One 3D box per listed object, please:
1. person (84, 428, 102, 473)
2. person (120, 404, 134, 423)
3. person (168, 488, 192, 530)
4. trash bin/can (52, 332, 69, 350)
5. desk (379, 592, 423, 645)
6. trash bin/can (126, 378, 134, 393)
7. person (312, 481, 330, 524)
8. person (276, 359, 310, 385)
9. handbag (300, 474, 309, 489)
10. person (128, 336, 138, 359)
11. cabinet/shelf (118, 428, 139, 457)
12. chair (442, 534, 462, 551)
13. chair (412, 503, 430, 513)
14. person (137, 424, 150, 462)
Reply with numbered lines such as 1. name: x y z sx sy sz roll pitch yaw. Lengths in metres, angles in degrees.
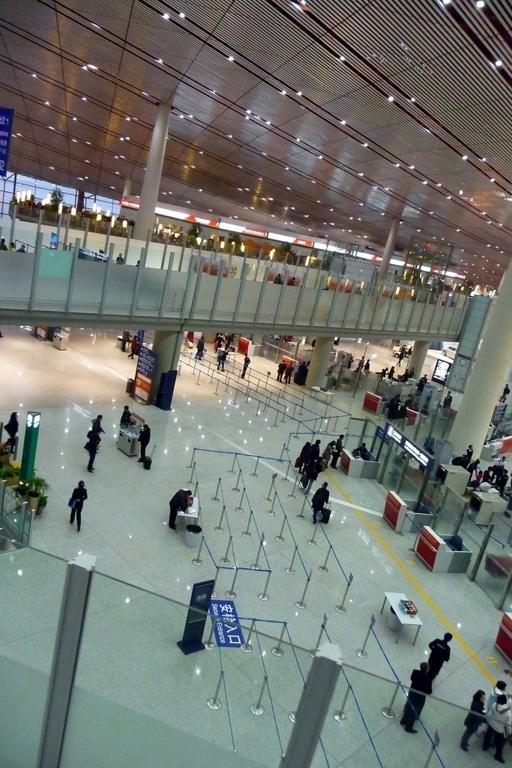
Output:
1. person: -4.799 1.737 13.816 0.354 1.309 1.223 11 13 -18
2. person: -4.377 0.991 16.017 0.311 0.687 0.827 12 12 -15
3. person: -1.886 3.065 11.674 0.423 0.870 0.457 3 47 -29
4. trash bin/can: -10.395 -2.181 25.037 0.540 0.688 0.763 10 15 -46
5. desk: 2.994 4.724 9.844 0.812 0.675 1.231 17 12 10
6. trash bin/can: -5.527 0.116 20.667 0.328 0.578 0.328 20 27 5
7. person: 1.807 3.339 13.627 0.441 1.206 0.630 17 12 11
8. person: 2.254 -0.626 29.689 0.635 1.112 1.212 -14 34 -36
9. handbag: 1.547 3.177 15.650 0.080 0.346 0.346 12 -3 -37
10. person: -6.969 -1.994 26.855 0.436 1.139 1.693 12 12 -15
11. cabinet/shelf: -4.130 1.879 15.213 0.410 0.649 0.699 0 19 -40
12. chair: 5.487 4.343 13.304 0.449 0.385 0.412 -16 23 -27
13. chair: 5.234 3.940 15.109 0.305 0.254 0.642 13 12 -10
14. person: -3.582 1.838 14.851 0.342 1.169 0.775 12 12 -13
